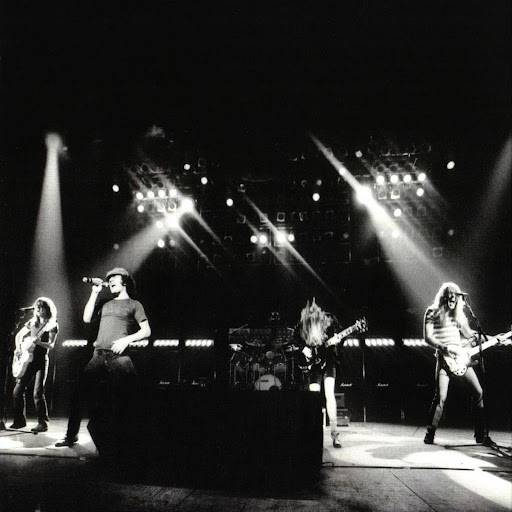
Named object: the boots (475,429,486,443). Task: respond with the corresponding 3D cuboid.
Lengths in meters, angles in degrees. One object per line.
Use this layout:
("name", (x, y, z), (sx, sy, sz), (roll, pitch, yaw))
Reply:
("boots", (2.262, 1.822, 6.248), (0.091, 0.113, 0.095), (1, 5, 3))

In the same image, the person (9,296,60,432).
("person", (-2.485, 1.208, 6.930), (0.473, 1.567, 1.010), (1, 0, -20))

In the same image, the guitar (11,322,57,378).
("guitar", (-2.508, 1.073, 6.944), (0.586, 0.315, 0.080), (-45, -40, 21))

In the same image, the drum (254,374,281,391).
("drum", (0.163, 1.724, 8.455), (0.377, 0.195, 0.223), (1, -1, -2))
